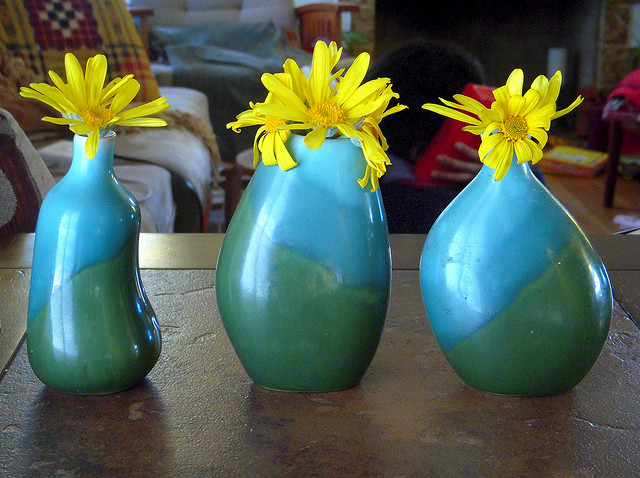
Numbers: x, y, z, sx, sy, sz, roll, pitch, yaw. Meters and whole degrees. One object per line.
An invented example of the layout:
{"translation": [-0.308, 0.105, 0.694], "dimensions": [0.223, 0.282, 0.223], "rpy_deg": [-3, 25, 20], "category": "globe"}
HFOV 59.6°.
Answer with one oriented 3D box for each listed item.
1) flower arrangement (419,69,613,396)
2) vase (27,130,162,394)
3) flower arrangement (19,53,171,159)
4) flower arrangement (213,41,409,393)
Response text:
{"translation": [0.136, 0.000, 0.385], "dimensions": [0.145, 0.215, 0.085], "rpy_deg": [6, 29, 9], "category": "flower arrangement"}
{"translation": [-0.164, 0.022, 0.382], "dimensions": [0.091, 0.175, 0.063], "rpy_deg": [-9, 30, -19], "category": "vase"}
{"translation": [-0.149, -0.079, 0.370], "dimensions": [0.079, 0.039, 0.084], "rpy_deg": [-12, 64, -33], "category": "flower arrangement"}
{"translation": [-0.001, -0.014, 0.407], "dimensions": [0.156, 0.248, 0.124], "rpy_deg": [-3, 28, -8], "category": "flower arrangement"}
